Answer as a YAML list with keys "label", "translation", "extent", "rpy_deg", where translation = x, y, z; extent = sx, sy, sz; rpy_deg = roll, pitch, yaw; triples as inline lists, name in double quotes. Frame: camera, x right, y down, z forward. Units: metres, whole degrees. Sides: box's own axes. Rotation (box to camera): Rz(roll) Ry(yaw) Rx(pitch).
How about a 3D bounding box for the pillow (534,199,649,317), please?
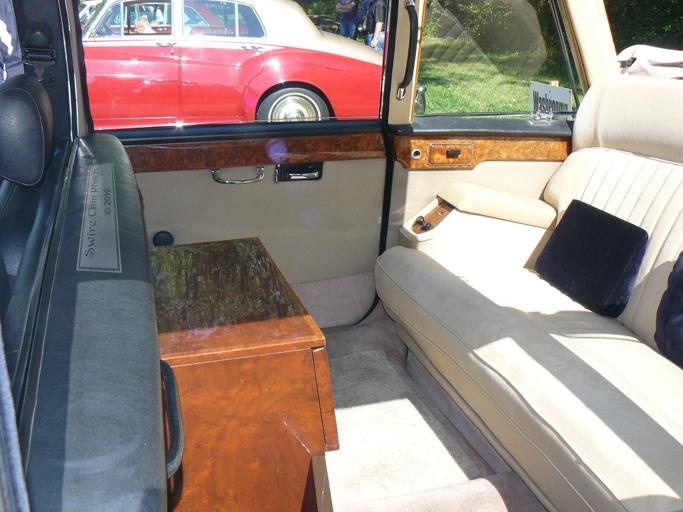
- label: "pillow"
  translation: [0.993, 0.047, 2.044]
  extent: [0.103, 0.399, 0.402]
  rpy_deg: [16, 16, -39]
